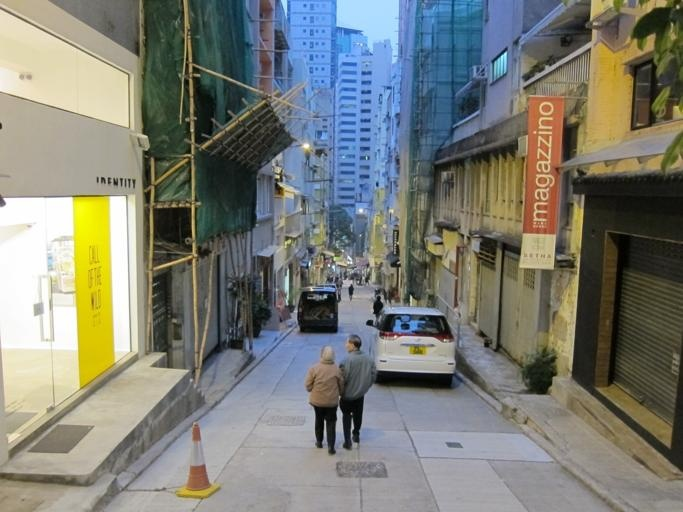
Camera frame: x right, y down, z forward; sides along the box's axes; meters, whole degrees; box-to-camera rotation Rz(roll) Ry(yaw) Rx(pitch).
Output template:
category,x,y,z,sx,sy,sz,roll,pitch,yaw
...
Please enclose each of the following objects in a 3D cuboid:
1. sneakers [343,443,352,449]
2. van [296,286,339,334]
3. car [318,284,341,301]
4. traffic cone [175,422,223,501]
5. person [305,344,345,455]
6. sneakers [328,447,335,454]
category,x,y,z,sx,sy,sz,roll,pitch,yaw
sneakers,0.098,3.119,10.329,0.116,0.144,0.074,-5,-15,37
van,-1.073,2.258,30.986,1.811,2.433,3.824,1,9,-1
car,-0.528,2.252,40.953,1.037,0.843,1.724,0,-12,3
traffic cone,-1.987,2.840,8.729,0.735,0.928,0.720,0,-3,-39
person,-0.267,2.327,10.192,0.601,1.669,0.468,1,1,7
sneakers,-0.147,3.108,10.126,0.120,0.131,0.219,1,0,-2
